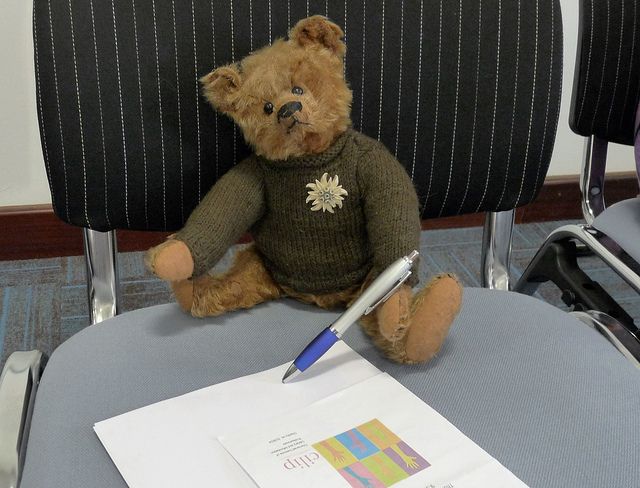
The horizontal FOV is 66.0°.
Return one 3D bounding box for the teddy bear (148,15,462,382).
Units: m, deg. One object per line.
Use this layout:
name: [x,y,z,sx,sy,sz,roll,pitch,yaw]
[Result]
teddy bear: [-0.012,-0.079,0.693,0.378,0.499,0.316,-3,5,9]
